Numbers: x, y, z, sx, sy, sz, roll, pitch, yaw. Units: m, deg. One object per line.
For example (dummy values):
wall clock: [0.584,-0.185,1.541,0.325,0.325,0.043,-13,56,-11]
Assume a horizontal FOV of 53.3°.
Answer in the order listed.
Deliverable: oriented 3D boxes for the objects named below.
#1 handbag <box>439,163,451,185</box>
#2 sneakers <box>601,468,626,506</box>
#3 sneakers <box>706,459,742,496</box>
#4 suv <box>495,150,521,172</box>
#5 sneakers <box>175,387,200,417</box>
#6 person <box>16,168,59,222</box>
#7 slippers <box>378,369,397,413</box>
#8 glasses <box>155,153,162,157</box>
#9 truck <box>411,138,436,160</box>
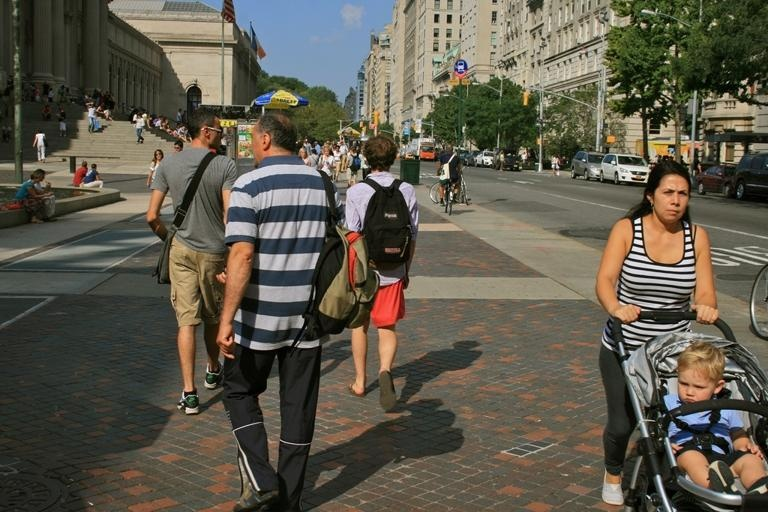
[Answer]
handbag: [1.942,-2.594,24.377,0.248,0.701,0.757,11,-8,-14]
sneakers: [1.599,1.618,5.300,0.119,0.289,0.101,-1,-31,10]
sneakers: [1.859,1.221,4.220,0.102,0.216,0.096,-19,-20,1]
suv: [11.203,-8.481,68.966,1.775,1.254,2.675,0,4,-9]
sneakers: [-1.741,1.275,6.783,0.196,0.199,0.253,-2,11,-15]
person: [-8.364,-1.463,18.692,1.024,1.307,0.944,9,13,35]
slippers: [0.037,1.190,6.653,0.168,0.143,0.342,-3,29,16]
glasses: [-7.147,-3.153,24.200,0.184,0.080,0.224,-1,1,-2]
truck: [5.754,-14.088,102.625,2.678,2.892,6.919,0,3,-7]
